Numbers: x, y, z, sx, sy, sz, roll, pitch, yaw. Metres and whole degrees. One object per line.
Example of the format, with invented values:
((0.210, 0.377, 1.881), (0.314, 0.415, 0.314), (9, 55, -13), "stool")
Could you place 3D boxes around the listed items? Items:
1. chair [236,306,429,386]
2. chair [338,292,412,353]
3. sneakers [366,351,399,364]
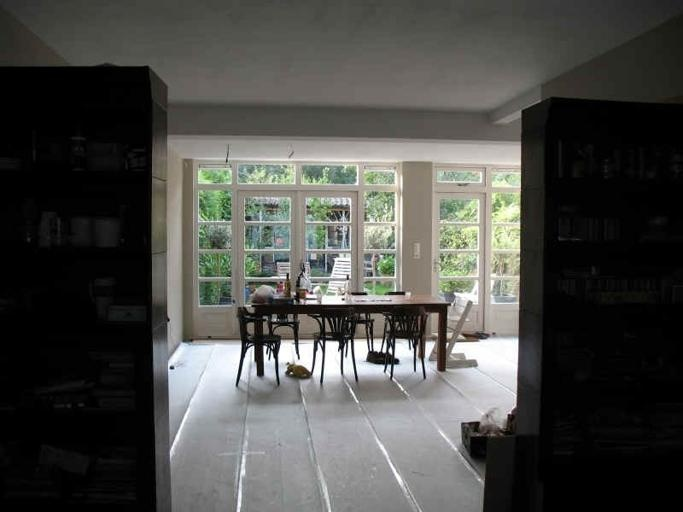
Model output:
((-0.113, 0.990, 6.462), (2.293, 0.949, 1.031), (-1, 6, -12), "chair")
((0.375, 0.894, 7.416), (0.846, 1.320, 0.898), (0, 5, -1), "chair")
((0.517, 1.356, 7.070), (0.267, 0.097, 0.225), (2, -2, -4), "sneakers")
